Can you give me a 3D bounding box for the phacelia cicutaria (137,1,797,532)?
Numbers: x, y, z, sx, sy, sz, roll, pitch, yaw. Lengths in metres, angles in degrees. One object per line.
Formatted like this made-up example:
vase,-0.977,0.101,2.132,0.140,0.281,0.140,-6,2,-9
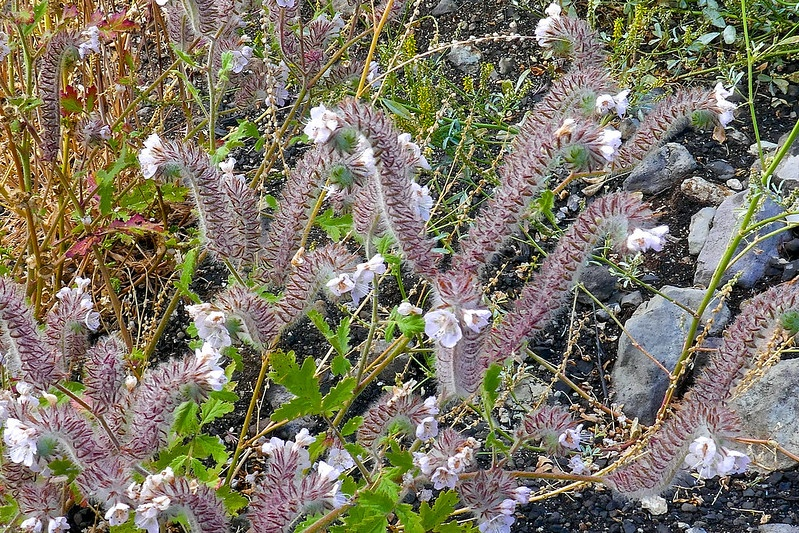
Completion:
phacelia cicutaria,0.190,0.031,5.799,2.409,0.981,2.247,10,54,-1
